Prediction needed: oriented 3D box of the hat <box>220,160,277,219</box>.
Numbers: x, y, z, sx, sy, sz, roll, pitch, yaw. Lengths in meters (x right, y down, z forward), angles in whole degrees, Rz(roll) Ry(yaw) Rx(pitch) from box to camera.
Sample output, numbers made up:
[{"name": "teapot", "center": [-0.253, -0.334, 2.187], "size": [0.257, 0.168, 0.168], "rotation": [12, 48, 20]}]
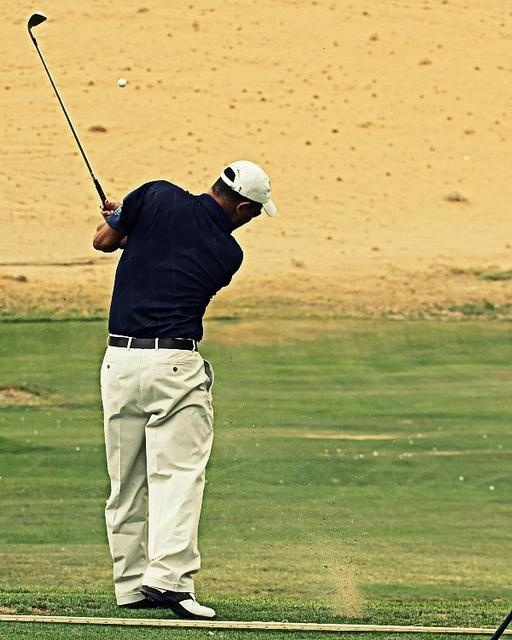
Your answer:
[{"name": "hat", "center": [-0.022, -0.542, 7.081], "size": [0.251, 0.144, 0.180], "rotation": [32, 19, -29]}]

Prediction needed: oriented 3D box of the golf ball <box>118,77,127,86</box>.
[{"name": "golf ball", "center": [-0.808, -1.449, 10.657], "size": [0.051, 0.058, 0.057], "rotation": [3, 9, -16]}]

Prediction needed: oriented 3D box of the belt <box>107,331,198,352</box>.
[{"name": "belt", "center": [-0.414, 0.096, 6.976], "size": [0.348, 0.069, 0.089], "rotation": [5, 9, -1]}]

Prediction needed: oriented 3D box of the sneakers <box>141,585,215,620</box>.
[{"name": "sneakers", "center": [-0.309, 1.134, 6.955], "size": [0.297, 0.140, 0.085], "rotation": [4, 9, -8]}]

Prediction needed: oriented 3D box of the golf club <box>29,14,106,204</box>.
[{"name": "golf club", "center": [-0.801, -0.909, 7.599], "size": [0.201, 1.098, 0.148], "rotation": [-19, -25, -15]}]
